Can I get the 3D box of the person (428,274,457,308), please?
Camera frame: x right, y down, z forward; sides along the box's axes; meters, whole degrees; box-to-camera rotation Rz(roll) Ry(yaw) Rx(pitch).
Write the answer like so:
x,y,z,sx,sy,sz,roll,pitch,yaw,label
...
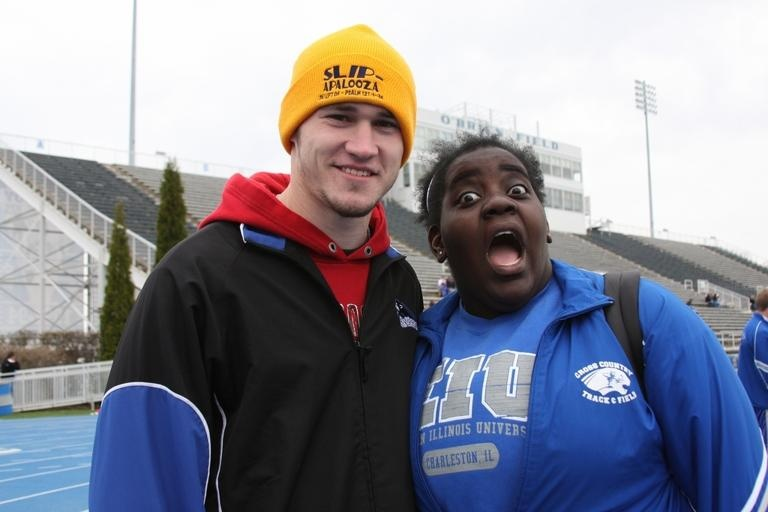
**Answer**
x,y,z,sx,sy,sz,roll,pitch,yaw,label
1.667,0.879,25.102,0.469,1.060,1.507,0,-11,5,person
